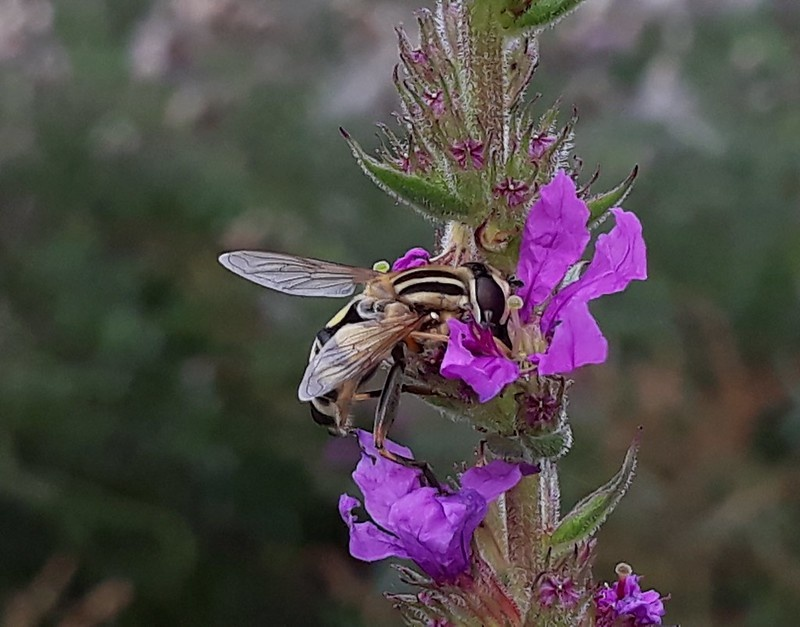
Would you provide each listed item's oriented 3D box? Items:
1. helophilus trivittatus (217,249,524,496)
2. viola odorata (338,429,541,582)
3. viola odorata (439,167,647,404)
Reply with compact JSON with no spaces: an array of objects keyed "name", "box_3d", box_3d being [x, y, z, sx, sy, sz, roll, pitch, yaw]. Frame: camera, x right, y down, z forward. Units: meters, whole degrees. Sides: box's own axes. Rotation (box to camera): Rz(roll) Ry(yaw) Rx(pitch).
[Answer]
[{"name":"helophilus trivittatus","box_3d":[-0.003,0.043,2.817,0.872,0.326,0.753,-6,26,-13]},{"name":"viola odorata","box_3d":[0.059,0.460,2.852,0.306,0.542,0.493,1,96,39]},{"name":"viola odorata","box_3d":[0.342,-0.068,2.631,0.474,0.435,0.577,-1,96,-1]}]
